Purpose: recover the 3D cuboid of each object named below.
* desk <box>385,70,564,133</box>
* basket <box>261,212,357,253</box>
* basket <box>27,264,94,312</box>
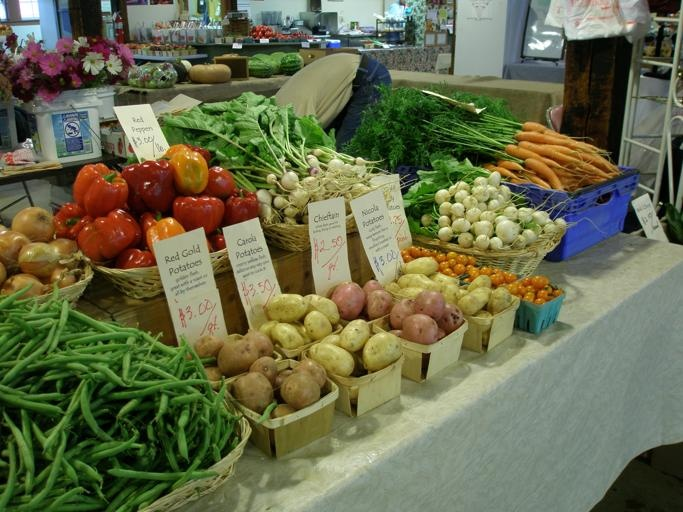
[{"bbox_3d":[1.180,-1.447,4.333,1.282,0.444,1.377,-13,22,-23],"label":"desk"},{"bbox_3d":[-0.170,-0.076,1.735,0.227,0.063,0.195,11,20,35],"label":"basket"},{"bbox_3d":[-0.763,0.088,1.340,0.119,0.040,0.118,-23,24,-38],"label":"basket"}]
